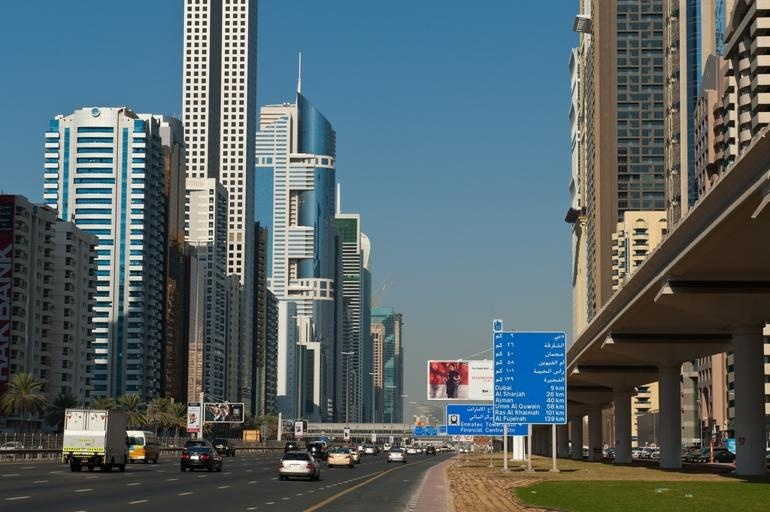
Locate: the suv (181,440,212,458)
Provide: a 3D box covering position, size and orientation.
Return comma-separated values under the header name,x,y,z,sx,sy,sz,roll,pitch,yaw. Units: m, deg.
name,x,y,z,sx,sy,sz,roll,pitch,yaw
suv,-27.042,27.798,221.310,2.683,2.261,5.467,2,-2,-5
